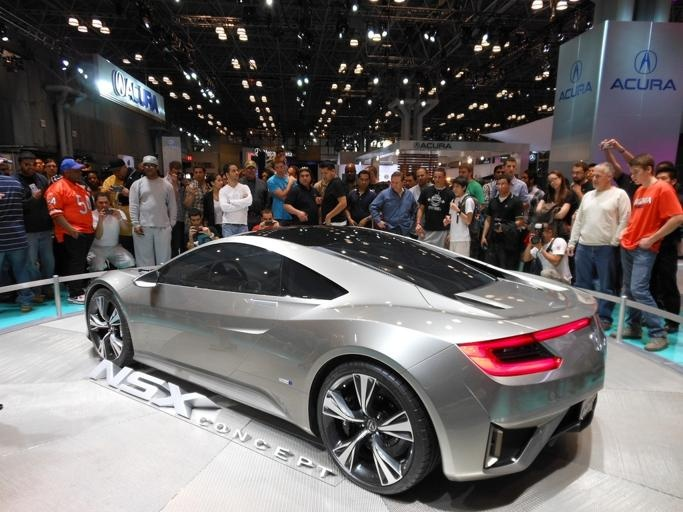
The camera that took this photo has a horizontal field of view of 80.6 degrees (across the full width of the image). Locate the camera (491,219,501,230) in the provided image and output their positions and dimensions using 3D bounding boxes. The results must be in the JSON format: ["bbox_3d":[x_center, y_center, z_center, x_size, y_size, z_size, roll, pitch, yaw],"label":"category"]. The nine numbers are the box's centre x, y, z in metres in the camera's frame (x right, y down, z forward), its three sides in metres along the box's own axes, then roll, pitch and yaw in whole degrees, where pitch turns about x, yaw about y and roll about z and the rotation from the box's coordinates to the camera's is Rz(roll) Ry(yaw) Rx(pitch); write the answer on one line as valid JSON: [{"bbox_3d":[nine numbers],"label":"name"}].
[{"bbox_3d":[2.367,-0.470,6.168,0.073,0.095,0.203,-1,21,13],"label":"camera"}]

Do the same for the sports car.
[{"bbox_3d":[-0.097,0.511,2.948,3.074,0.944,1.718,14,13,33],"label":"sports car"}]

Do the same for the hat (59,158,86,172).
[{"bbox_3d":[-3.965,-1.310,5.989,0.340,0.187,0.209,-1,23,-24],"label":"hat"}]
